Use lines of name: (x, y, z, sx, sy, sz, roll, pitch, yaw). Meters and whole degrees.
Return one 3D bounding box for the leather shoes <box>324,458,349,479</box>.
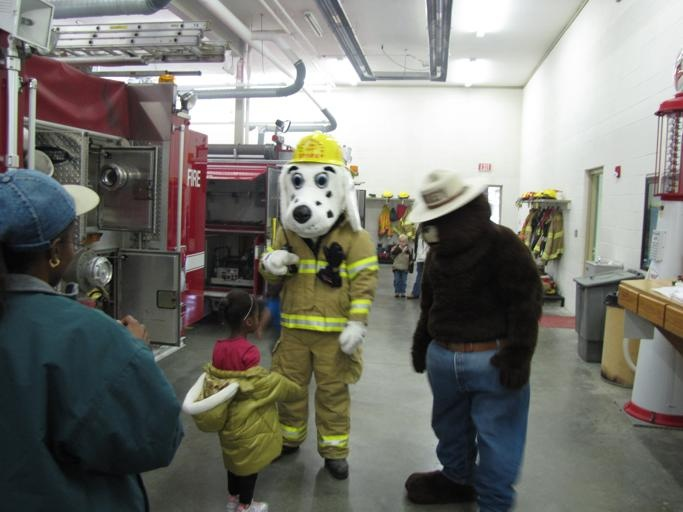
leather shoes: (-0.033, 1.427, 3.587, 0.083, 0.101, 0.170, 1, -1, -25)
